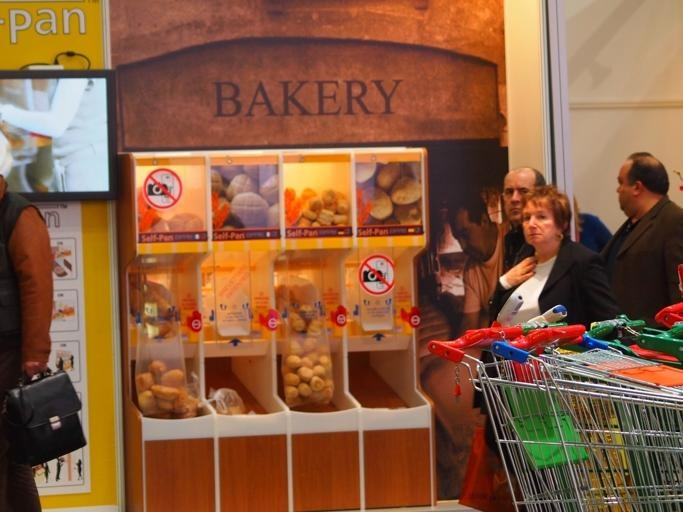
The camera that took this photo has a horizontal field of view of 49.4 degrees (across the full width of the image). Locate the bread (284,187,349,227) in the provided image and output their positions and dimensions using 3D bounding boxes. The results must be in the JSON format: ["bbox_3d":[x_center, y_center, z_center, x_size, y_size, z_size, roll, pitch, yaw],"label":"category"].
[{"bbox_3d":[-0.150,-0.293,4.602,0.279,0.290,0.089,2,-4,-10],"label":"bread"}]

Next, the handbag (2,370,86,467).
[{"bbox_3d":[-1.574,0.848,3.922,0.380,0.435,0.161,-3,0,-28],"label":"handbag"}]

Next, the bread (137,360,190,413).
[{"bbox_3d":[-1.078,0.824,4.619,0.280,0.333,0.301,0,-15,0],"label":"bread"}]

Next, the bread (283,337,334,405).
[{"bbox_3d":[-0.214,0.708,4.639,0.365,0.518,0.167,0,-10,-15],"label":"bread"}]
